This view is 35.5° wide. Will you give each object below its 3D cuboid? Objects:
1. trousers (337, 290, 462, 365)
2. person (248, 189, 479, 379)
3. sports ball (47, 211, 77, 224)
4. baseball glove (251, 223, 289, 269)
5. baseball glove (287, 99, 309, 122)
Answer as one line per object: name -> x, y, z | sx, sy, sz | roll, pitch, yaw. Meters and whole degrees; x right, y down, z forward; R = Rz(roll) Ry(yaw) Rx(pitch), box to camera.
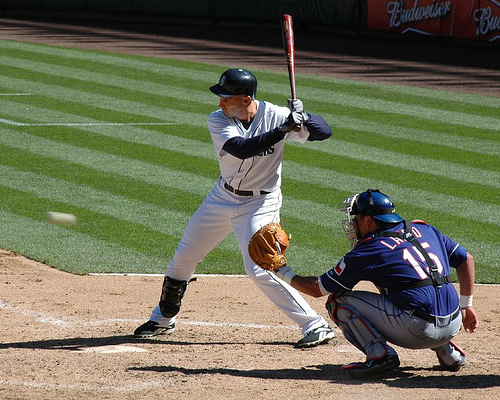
trousers -> 1.056, 0.924, 6.094 | 0.844, 0.371, 1.087 | 17, -11, -40
person -> 0.875, 0.584, 5.929 | 1.785, 0.945, 0.895 | 2, 14, -16
sports ball -> -1.674, 0.166, 7.020 | 0.239, 0.121, 0.203 | -1, 11, -7
baseball glove -> 0.132, 0.361, 6.033 | 0.397, 0.283, 0.431 | -5, 22, -15
baseball glove -> 0.382, -0.718, 6.216 | 0.166, 0.174, 0.270 | 1, 11, 3
